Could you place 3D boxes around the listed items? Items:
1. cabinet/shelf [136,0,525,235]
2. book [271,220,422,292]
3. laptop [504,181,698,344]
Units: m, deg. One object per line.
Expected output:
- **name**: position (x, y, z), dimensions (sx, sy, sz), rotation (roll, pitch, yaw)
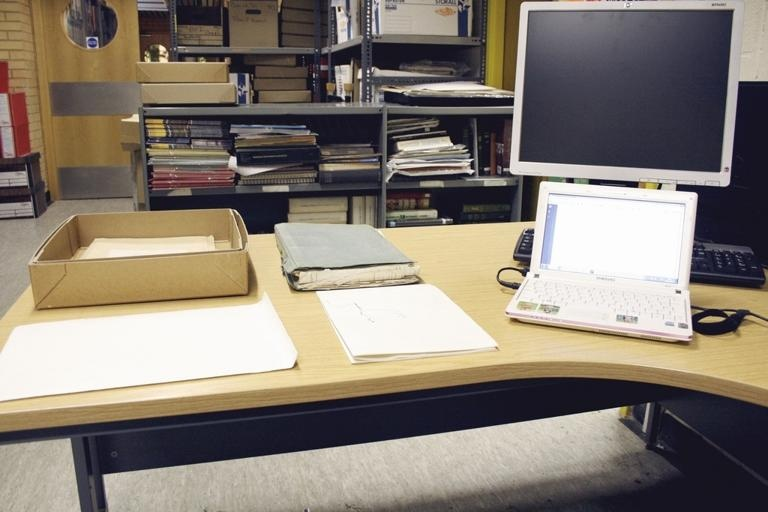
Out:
- **cabinet/shelf**: position (-0.244, -0.780, 3.224), dimensions (2.014, 1.749, 0.629), rotation (-3, 18, -10)
- **book**: position (-0.103, 0.010, 1.522), dimensions (0.248, 0.056, 0.242), rotation (-2, 27, -21)
- **laptop**: position (0.573, 0.031, 1.492), dimensions (0.464, 0.295, 0.423), rotation (7, 27, 18)
